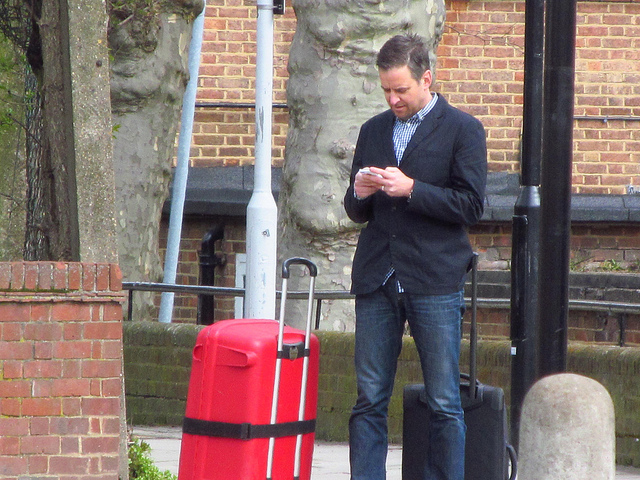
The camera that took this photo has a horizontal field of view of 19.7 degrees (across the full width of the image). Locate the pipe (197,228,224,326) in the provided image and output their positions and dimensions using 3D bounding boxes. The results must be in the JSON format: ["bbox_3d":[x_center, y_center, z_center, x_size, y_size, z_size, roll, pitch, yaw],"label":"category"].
[{"bbox_3d":[-1.175,0.423,19.218,0.204,1.016,0.295,0,5,-9],"label":"pipe"}]

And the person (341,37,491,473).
[{"bbox_3d":[0.649,0.141,13.102,0.989,3.085,0.848,2,-9,0],"label":"person"}]

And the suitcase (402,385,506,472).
[{"bbox_3d":[0.965,1.378,13.073,0.574,0.699,0.236,0,3,7],"label":"suitcase"}]
